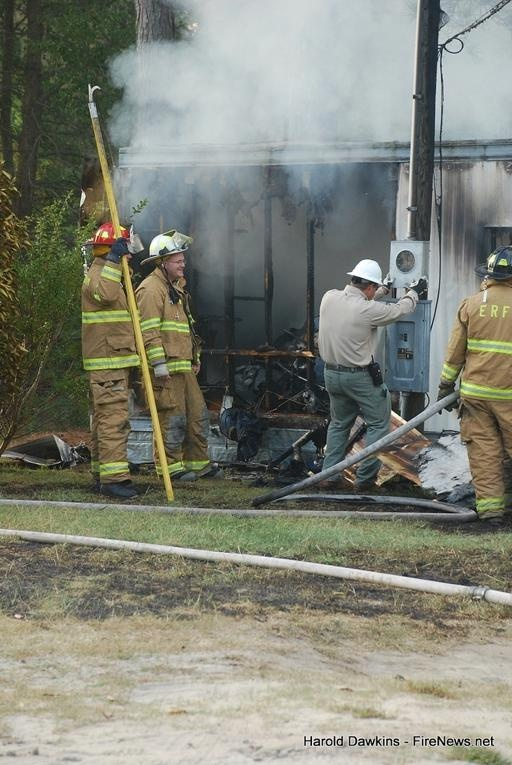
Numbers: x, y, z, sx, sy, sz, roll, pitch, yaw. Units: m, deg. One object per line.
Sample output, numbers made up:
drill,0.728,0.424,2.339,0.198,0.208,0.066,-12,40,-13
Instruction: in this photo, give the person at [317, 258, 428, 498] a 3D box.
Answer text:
person,0.665,-0.089,7.046,0.577,1.275,0.463,1,8,6

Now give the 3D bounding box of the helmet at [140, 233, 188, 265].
helmet,-0.535,-0.868,7.455,0.192,0.127,0.267,-23,-3,29

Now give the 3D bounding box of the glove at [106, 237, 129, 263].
glove,-0.782,-0.761,6.832,0.103,0.145,0.127,2,-24,32

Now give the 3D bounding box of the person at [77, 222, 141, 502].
person,-0.838,-0.135,6.876,0.329,1.563,0.485,-1,8,-8

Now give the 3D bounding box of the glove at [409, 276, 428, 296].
glove,0.988,-0.577,7.161,0.091,0.053,0.125,41,41,8

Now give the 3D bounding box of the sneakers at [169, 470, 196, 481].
sneakers,-0.471,0.604,7.703,0.134,0.056,0.078,-4,0,15

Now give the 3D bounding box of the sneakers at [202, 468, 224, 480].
sneakers,-0.295,0.620,8.020,0.116,0.062,0.071,-9,3,-17

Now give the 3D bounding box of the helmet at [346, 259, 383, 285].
helmet,0.666,-0.634,7.017,0.164,0.112,0.211,16,8,24
